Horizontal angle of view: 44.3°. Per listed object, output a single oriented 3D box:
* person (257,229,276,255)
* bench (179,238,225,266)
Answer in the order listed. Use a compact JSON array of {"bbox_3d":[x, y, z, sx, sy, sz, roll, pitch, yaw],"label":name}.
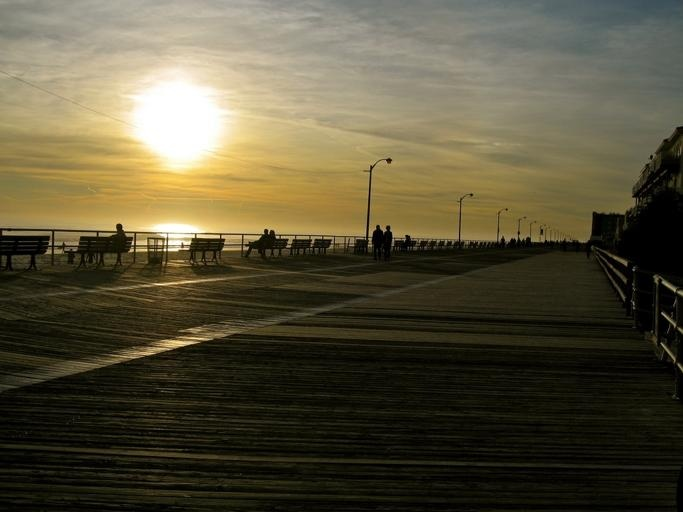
[{"bbox_3d":[-3.112,-0.626,35.177,0.649,0.747,1.356,-1,-1,4],"label":"person"},{"bbox_3d":[-5.182,-0.209,31.302,1.499,0.678,0.595,-2,9,-30],"label":"bench"}]
